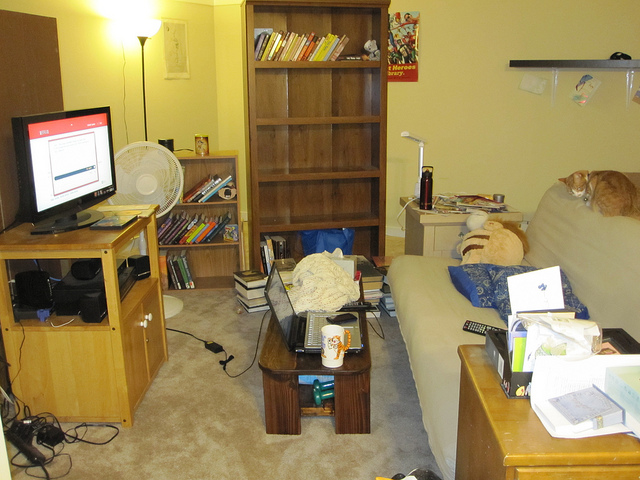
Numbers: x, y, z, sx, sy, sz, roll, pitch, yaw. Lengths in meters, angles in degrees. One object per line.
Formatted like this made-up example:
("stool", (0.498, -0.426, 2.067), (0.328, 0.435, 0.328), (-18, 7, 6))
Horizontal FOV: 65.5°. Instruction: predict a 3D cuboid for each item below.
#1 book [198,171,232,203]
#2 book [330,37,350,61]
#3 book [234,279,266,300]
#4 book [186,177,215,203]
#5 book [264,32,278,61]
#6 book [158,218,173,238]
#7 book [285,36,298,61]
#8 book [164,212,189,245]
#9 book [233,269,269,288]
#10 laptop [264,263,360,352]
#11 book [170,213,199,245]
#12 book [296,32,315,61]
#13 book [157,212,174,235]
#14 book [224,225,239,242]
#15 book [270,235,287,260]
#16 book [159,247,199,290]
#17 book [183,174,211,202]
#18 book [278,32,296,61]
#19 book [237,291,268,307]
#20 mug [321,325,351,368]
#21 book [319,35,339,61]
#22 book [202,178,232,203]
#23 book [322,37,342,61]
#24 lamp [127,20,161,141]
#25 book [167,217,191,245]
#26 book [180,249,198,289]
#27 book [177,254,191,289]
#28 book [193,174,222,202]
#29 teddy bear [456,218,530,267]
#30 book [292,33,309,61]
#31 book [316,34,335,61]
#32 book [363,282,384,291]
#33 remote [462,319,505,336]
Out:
("book", (-0.905, -0.449, 4.249), (0.068, 0.343, 0.046), (42, -10, 9))
("book", (0.191, -1.569, 4.151), (0.040, 0.165, 0.168), (31, 48, -17))
("book", (-0.537, 0.360, 3.859), (0.178, 0.044, 0.179), (-5, 26, -34))
("book", (-1.021, -0.426, 4.239), (0.063, 0.302, 0.036), (46, 0, 5))
("book", (-0.412, -1.597, 4.069), (0.027, 0.248, 0.028), (29, 5, -10))
("book", (-1.317, -0.096, 4.209), (0.028, 0.202, 0.028), (32, -13, 44))
("book", (-0.241, -1.584, 4.084), (0.028, 0.214, 0.031), (28, 8, -23))
("book", (-1.212, -0.073, 4.260), (0.056, 0.336, 0.103), (43, -3, -29))
("book", (-0.550, 0.298, 3.898), (0.247, 0.085, 0.199), (-3, 19, -11))
("laptop", (-0.033, 0.387, 2.592), (0.433, 0.307, 0.445), (-2, 18, -4))
("book", (-1.163, -0.084, 4.221), (0.044, 0.258, 0.098), (39, 6, 0))
("book", (-0.104, -1.571, 4.105), (0.047, 0.196, 0.198), (25, 47, -11))
("book", (-1.326, -0.152, 4.261), (0.062, 0.238, 0.056), (30, -12, 25))
("book", (-0.770, -0.056, 4.284), (0.115, 0.118, 0.066), (7, 22, 9))
("book", (-0.372, 0.072, 4.312), (0.058, 0.148, 0.155), (-6, 16, -11))
("book", (-1.226, 0.237, 4.295), (0.111, 0.386, 0.276), (-7, 17, -5))
("book", (-1.059, -0.444, 4.248), (0.068, 0.292, 0.048), (42, -5, 29))
("book", (-0.258, -1.579, 4.097), (0.043, 0.188, 0.181), (22, 16, -10))
("book", (-0.515, 0.449, 3.802), (0.228, 0.057, 0.229), (-2, 10, -23))
("mug", (0.077, 0.517, 2.428), (0.169, 0.171, 0.107), (-3, 3, -17))
("book", (0.062, -1.586, 4.107), (0.042, 0.178, 0.176), (30, -7, -5))
("book", (-0.886, -0.429, 4.228), (0.287, 0.040, 0.044), (-38, 33, -8))
("book", (0.100, -1.574, 4.124), (0.038, 0.159, 0.156), (32, 0, -6))
("lamp", (-1.620, -1.450, 4.621), (0.284, 1.073, 0.573), (-9, 20, -29))
("book", (-1.204, -0.069, 4.213), (0.035, 0.265, 0.036), (41, -4, 10))
("book", (-1.135, 0.253, 4.299), (0.060, 0.272, 0.257), (-5, 12, -5))
("book", (-1.170, 0.282, 4.239), (0.048, 0.208, 0.202), (-13, 13, -11))
("book", (-0.961, -0.437, 4.242), (0.063, 0.266, 0.070), (39, -2, 11))
("teddy bear", (1.126, 0.016, 3.273), (0.375, 0.317, 0.308), (3, 8, 5))
("book", (-0.163, -1.585, 4.110), (0.040, 0.175, 0.167), (24, 0, -2))
("book", (0.038, -1.585, 4.106), (0.135, 0.197, 0.042), (-7, 19, -22))
("book", (0.400, 0.340, 3.694), (0.177, 0.071, 0.036), (-9, 20, -28))
("remote", (0.778, 0.421, 2.387), (0.210, 0.029, 0.104), (10, 25, 19))
